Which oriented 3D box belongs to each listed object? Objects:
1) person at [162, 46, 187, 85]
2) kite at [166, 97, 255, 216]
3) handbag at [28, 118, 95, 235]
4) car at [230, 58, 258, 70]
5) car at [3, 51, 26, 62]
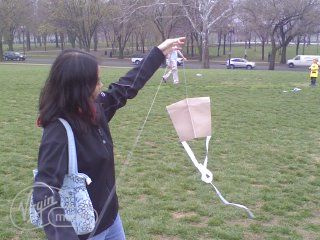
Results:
[{"bbox_3d":[0.725,-2.401,15.252,0.933,1.862,0.762,-5,-12,45],"label":"person"},{"bbox_3d":[0.907,0.721,6.383,0.701,2.052,0.329,-9,4,-1],"label":"kite"},{"bbox_3d":[-0.632,0.433,2.695,0.257,0.858,0.268,-2,13,-14],"label":"handbag"},{"bbox_3d":[9.470,-6.054,40.387,3.065,1.487,1.532,1,19,11],"label":"car"},{"bbox_3d":[-18.371,-8.021,44.789,2.275,1.066,3.046,-7,17,-30],"label":"car"}]
